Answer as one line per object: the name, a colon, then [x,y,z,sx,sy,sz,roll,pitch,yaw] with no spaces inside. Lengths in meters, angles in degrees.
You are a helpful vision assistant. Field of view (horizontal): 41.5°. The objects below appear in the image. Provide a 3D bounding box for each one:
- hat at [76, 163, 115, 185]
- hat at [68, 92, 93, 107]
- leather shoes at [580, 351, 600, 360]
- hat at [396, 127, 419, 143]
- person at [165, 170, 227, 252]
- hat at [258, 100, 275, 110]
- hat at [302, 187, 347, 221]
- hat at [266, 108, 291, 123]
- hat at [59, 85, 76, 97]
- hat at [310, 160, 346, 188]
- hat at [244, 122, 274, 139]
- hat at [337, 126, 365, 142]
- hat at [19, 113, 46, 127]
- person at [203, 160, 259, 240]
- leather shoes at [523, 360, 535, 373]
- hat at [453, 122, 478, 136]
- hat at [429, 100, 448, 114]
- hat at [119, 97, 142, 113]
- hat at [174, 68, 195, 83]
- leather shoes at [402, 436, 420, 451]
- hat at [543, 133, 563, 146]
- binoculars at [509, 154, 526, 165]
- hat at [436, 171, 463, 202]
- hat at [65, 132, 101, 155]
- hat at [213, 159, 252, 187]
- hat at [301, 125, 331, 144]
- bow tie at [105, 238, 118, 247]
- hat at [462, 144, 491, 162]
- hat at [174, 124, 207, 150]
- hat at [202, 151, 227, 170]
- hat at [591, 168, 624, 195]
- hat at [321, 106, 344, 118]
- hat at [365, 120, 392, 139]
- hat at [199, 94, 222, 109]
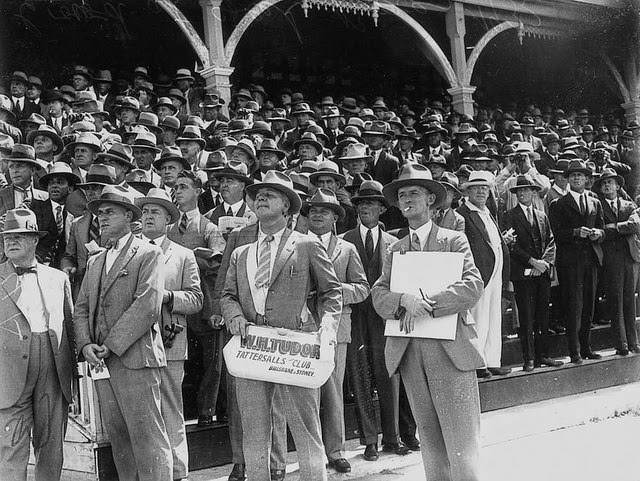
hat: [-2.720,-0.806,10.333,0.309,0.145,0.365,2,-8,-5]
hat: [-3.748,-2.243,13.389,0.333,0.138,0.287,-7,7,44]
leather shoes: [3.987,1.705,12.547,0.305,0.139,0.107,-5,0,6]
hat: [1.586,-1.927,15.294,0.283,0.130,0.333,8,-18,21]
person: [-1.492,-0.335,10.132,0.889,0.928,0.362,-6,-9,31]
hat: [-1.000,-2.632,16.326,0.288,0.122,0.331,1,-16,0]
hat: [0.102,-0.399,10.071,0.346,0.168,0.419,11,-23,19]
hat: [-0.756,-2.269,15.238,0.300,0.138,0.338,0,-6,7]
hat: [-4.319,-2.592,14.603,0.227,0.099,0.269,5,-15,3]
hat: [0.123,-0.931,11.549,0.336,0.215,0.394,3,-23,9]
hat: [-0.960,-1.720,13.217,0.385,0.176,0.444,5,-13,8]
hat: [0.504,-1.783,14.039,0.326,0.132,0.302,16,2,25]
hat: [-4.206,-1.797,12.646,0.281,0.104,0.323,1,-5,-4]
person: [-1.081,-0.490,10.635,0.686,1.042,0.595,0,-19,8]
leather shoes: [2.912,1.763,11.853,0.078,0.166,0.235,-3,-21,9]
hat: [2.870,-2.198,16.707,0.536,0.223,0.598,0,4,7]
hat: [2.751,-3.126,19.742,0.367,0.170,0.425,9,-21,43]
hat: [-3.055,-2.232,13.776,0.243,0.123,0.309,0,-1,6]
hat: [-2.465,-3.096,15.640,0.295,0.154,0.347,1,0,9]
leather shoes: [1.095,2.426,10.097,0.104,0.115,0.278,1,-1,-43]
hat: [4.376,-1.902,15.988,0.341,0.158,0.398,-2,-9,11]
binoculars: [3.202,-1.282,13.476,0.179,0.057,0.188,-9,24,39]
hat: [1.837,-0.779,11.815,0.315,0.190,0.468,16,-23,21]
hat: [-3.132,-1.323,11.338,0.439,0.249,0.495,1,9,-17]
hat: [-1.051,-0.891,10.710,0.328,0.150,0.379,9,-18,17]
hat: [-0.038,-1.773,13.950,0.257,0.124,0.313,10,-16,13]
bow tie: [-2.125,0.024,8.630,0.107,0.045,0.148,-24,14,-17]
hat: [2.611,-1.470,14.223,0.402,0.194,0.485,2,4,13]
hat: [-1.827,-1.489,12.232,0.316,0.337,0.450,7,9,21]
hat: [-1.407,-1.072,11.393,0.319,0.147,0.367,-4,-6,-8]
hat: [4.686,-1.037,13.736,0.478,0.221,0.566,-4,-39,25]
hat: [0.232,-2.371,15.664,0.277,0.122,0.307,-4,4,18]
hat: [0.990,-1.861,14.258,0.394,0.182,0.455,4,-8,11]
hat: [-1.868,-2.412,14.699,0.276,0.135,0.326,3,8,9]
